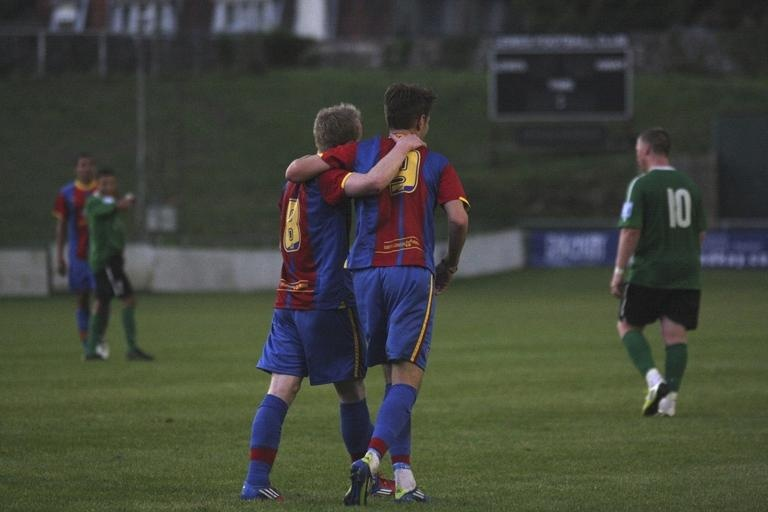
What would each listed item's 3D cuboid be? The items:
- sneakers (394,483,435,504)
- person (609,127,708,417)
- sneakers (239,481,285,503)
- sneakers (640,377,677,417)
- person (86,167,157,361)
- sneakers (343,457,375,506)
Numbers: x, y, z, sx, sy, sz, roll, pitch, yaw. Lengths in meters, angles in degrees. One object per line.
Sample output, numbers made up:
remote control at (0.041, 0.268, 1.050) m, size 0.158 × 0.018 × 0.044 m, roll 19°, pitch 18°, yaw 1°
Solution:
sneakers at (0.324, 2.560, 18.721) m, size 0.445 × 0.204 × 0.145 m, roll -1°, pitch 0°, yaw -6°
person at (3.185, 0.166, 20.159) m, size 1.054 × 3.296 × 0.646 m, roll 1°, pitch 6°, yaw 9°
sneakers at (-1.328, 2.526, 18.667) m, size 0.498 × 0.192 × 0.165 m, roll 0°, pitch -1°, yaw 1°
sneakers at (3.192, 1.662, 20.097) m, size 0.233 × 0.519 × 0.247 m, roll 15°, pitch 42°, yaw -10°
person at (-3.062, 0.081, 19.616) m, size 0.657 × 2.184 × 0.300 m, roll 0°, pitch 6°, yaw -4°
sneakers at (-0.238, 2.367, 18.472) m, size 0.235 × 0.627 × 0.293 m, roll 18°, pitch 26°, yaw 19°
